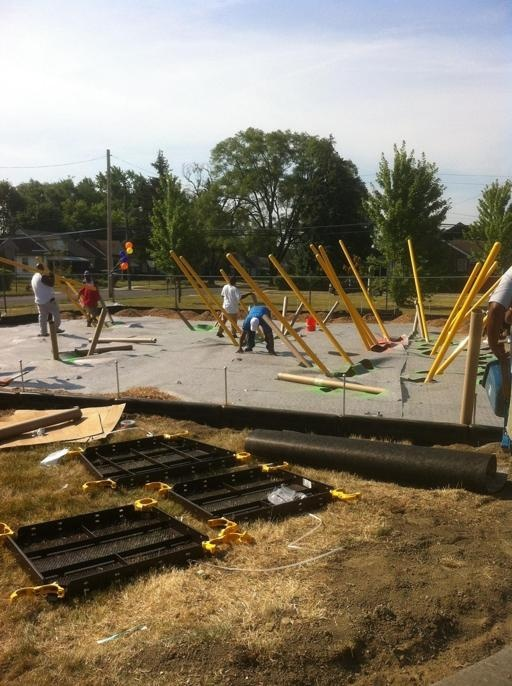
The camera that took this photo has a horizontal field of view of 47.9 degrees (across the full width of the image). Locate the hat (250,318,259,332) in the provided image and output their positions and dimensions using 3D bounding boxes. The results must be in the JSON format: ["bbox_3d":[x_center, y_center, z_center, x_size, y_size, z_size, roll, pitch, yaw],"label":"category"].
[{"bbox_3d":[-0.019,-0.386,12.216,0.179,0.325,0.332,-2,9,-1],"label":"hat"}]

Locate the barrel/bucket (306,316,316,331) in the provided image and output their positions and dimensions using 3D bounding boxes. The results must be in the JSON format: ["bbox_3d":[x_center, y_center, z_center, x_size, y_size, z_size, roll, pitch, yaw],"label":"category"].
[{"bbox_3d":[1.698,-0.575,17.522,0.269,0.414,0.674,-1,8,4],"label":"barrel/bucket"}]

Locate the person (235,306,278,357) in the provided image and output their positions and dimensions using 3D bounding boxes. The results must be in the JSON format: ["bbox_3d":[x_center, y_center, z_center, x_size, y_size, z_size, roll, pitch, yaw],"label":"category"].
[{"bbox_3d":[0.037,-0.452,12.507,0.657,1.172,0.417,3,-29,1],"label":"person"}]
